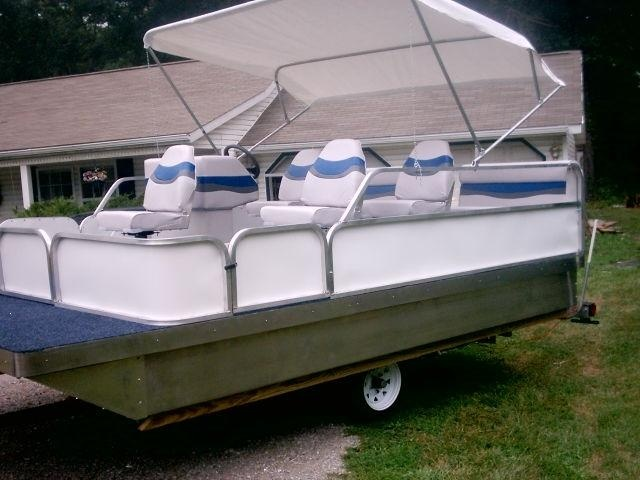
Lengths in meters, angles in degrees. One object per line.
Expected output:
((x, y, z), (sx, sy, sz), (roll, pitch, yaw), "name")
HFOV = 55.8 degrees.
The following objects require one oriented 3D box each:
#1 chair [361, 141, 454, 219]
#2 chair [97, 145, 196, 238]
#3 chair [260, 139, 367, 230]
((0.876, -0.605, 5.876), (0.873, 0.709, 0.648), (-10, 12, -39), "chair")
((-1.550, -0.468, 5.490), (0.837, 0.826, 0.794), (2, 5, 24), "chair")
((-0.037, -0.494, 5.189), (0.682, 0.750, 0.783), (-9, 11, -33), "chair")
